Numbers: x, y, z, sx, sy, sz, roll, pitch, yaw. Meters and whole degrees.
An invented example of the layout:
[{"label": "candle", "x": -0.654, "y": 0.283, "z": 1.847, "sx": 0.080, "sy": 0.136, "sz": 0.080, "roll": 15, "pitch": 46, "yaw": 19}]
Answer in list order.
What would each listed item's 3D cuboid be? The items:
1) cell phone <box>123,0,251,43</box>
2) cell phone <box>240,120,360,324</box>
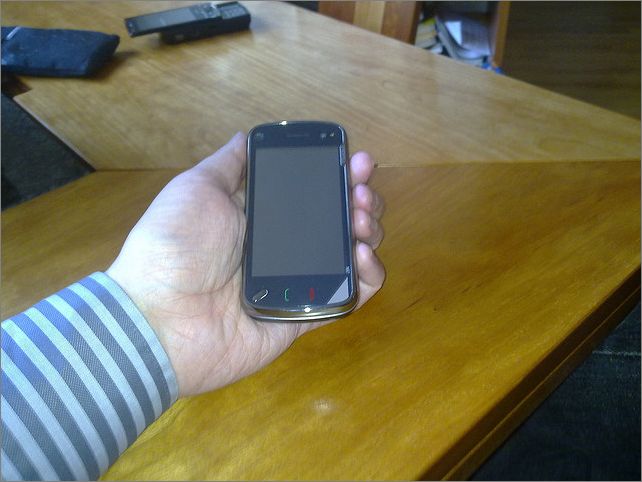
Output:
[{"label": "cell phone", "x": -0.262, "y": -0.432, "z": 1.014, "sx": 0.192, "sy": 0.049, "sz": 0.059, "roll": -18, "pitch": 59, "yaw": -12}, {"label": "cell phone", "x": -0.029, "y": -0.020, "z": 0.731, "sx": 0.128, "sy": 0.051, "sz": 0.262, "roll": -1, "pitch": 69, "yaw": -1}]
